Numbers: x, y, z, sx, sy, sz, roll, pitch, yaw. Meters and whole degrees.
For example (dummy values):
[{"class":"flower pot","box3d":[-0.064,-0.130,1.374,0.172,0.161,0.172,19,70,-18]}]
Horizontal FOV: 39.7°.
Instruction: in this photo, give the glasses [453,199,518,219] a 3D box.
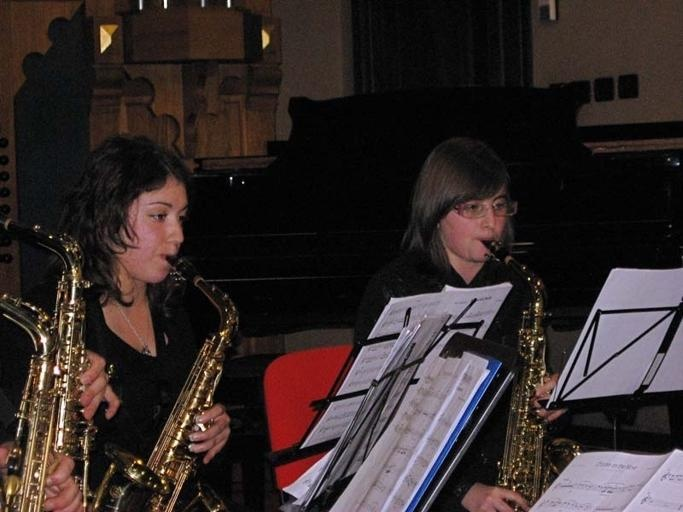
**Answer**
[{"class":"glasses","box3d":[0.725,-0.238,4.766,0.334,0.110,0.123,-1,7,-34]}]

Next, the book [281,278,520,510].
[{"class":"book","box3d":[0.298,0.587,3.920,0.998,0.906,0.592,0,7,-19]}]
